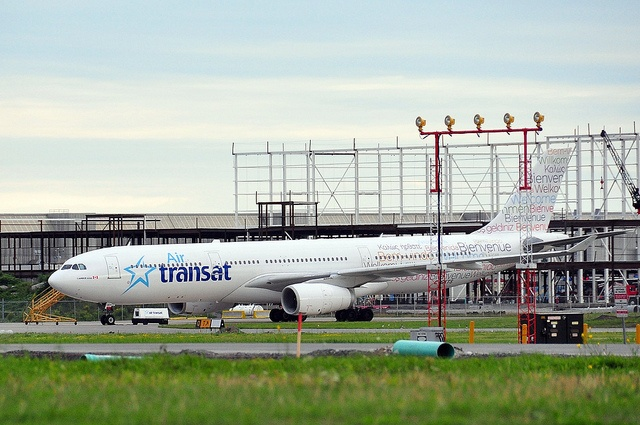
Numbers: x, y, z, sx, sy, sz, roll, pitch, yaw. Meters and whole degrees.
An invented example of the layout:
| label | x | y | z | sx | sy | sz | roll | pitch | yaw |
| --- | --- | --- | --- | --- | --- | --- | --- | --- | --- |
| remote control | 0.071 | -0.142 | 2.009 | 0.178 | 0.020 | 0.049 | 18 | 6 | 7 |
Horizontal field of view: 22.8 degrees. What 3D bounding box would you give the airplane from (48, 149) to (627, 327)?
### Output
| label | x | y | z | sx | sy | sz | roll | pitch | yaw |
| --- | --- | --- | --- | --- | --- | --- | --- | --- | --- |
| airplane | -0.105 | 1.541 | 109.299 | 34.599 | 11.906 | 6.821 | 1 | -4 | -20 |
